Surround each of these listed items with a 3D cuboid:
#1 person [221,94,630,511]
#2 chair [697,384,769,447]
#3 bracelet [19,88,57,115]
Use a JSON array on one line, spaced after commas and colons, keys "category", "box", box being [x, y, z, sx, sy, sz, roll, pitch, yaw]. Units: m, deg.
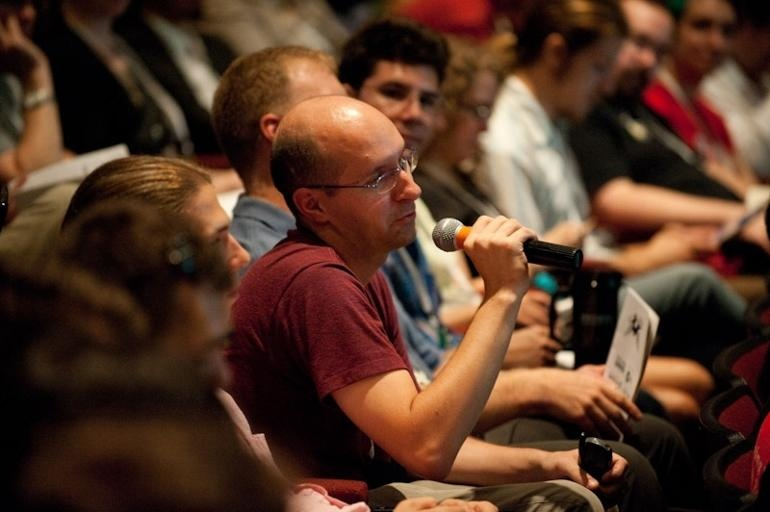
[{"category": "person", "box": [0.040, 0.059, 2.330, 1.147, 1.304, 0.873, -5, 6, 5]}, {"category": "chair", "box": [0.964, 0.462, 2.024, 0.144, 0.177, 0.174, 7, 16, 26]}, {"category": "bracelet", "box": [-1.482, -0.670, 3.063, 0.102, 0.026, 0.106, -18, 5, -7]}]
